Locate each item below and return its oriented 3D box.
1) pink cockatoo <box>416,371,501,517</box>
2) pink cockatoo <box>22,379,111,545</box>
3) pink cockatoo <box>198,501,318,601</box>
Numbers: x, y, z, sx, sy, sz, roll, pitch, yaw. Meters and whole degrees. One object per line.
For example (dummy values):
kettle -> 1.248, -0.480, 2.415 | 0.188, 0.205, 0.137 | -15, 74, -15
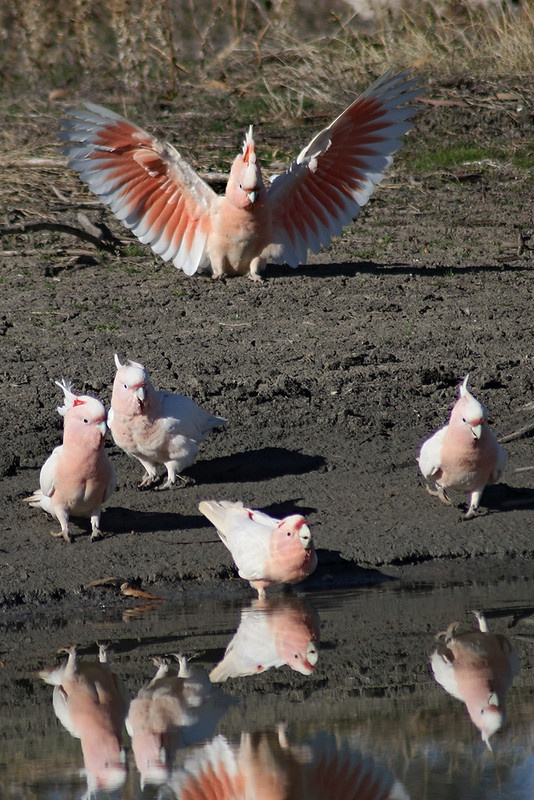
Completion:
pink cockatoo -> 1.077, 0.252, 6.837 | 0.439, 0.748, 0.442 | 10, 17, 35
pink cockatoo -> -1.023, 0.337, 6.500 | 0.451, 0.721, 0.478 | -3, 14, -14
pink cockatoo -> -0.043, 0.621, 5.928 | 0.251, 0.408, 0.744 | -14, 27, -26
